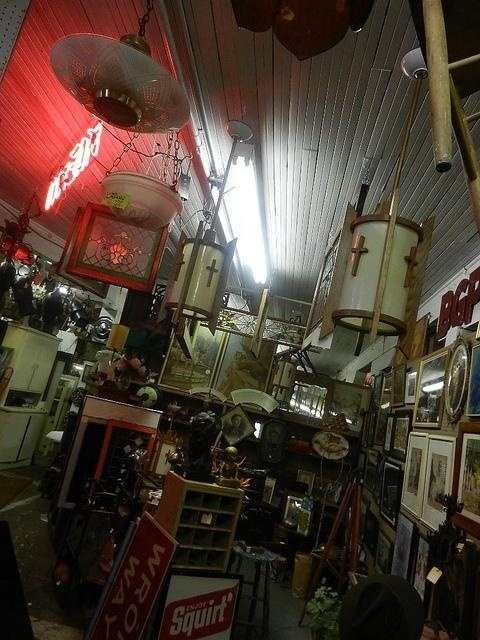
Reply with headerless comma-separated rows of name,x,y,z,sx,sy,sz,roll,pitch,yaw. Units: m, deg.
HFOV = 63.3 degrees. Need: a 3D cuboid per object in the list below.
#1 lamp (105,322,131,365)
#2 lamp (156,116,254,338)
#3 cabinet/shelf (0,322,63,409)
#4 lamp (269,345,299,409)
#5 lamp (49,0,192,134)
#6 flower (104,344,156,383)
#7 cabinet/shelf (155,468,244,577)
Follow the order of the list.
lamp,-1.981,0.265,6.274,0.271,0.339,0.181,17,-11,-4
lamp,-0.199,-0.944,3.374,0.444,2.276,0.980,17,-11,-11
cabinet/shelf,-5.055,1.093,9.064,0.508,1.772,1.655,14,-11,4
lamp,0.861,1.169,7.594,0.476,0.987,1.142,14,-11,7
lamp,-0.659,-1.272,2.174,0.750,0.213,0.497,21,-11,-18
flower,-2.121,0.880,7.244,0.724,0.673,0.506,-11,28,2
cabinet/shelf,-0.364,1.667,3.244,0.695,0.630,0.539,16,-11,0
